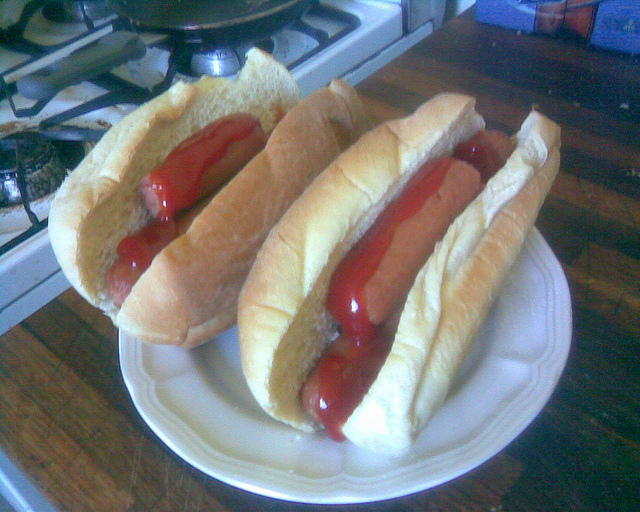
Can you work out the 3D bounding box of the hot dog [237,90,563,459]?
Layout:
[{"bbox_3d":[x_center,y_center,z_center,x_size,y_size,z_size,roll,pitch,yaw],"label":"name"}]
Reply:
[{"bbox_3d":[0.200,0.005,1.324,0.495,0.302,0.894,20,63,29],"label":"hot dog"}]

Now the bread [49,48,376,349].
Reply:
[{"bbox_3d":[-0.228,-0.127,1.586,0.645,0.367,0.845,33,68,13],"label":"bread"}]
